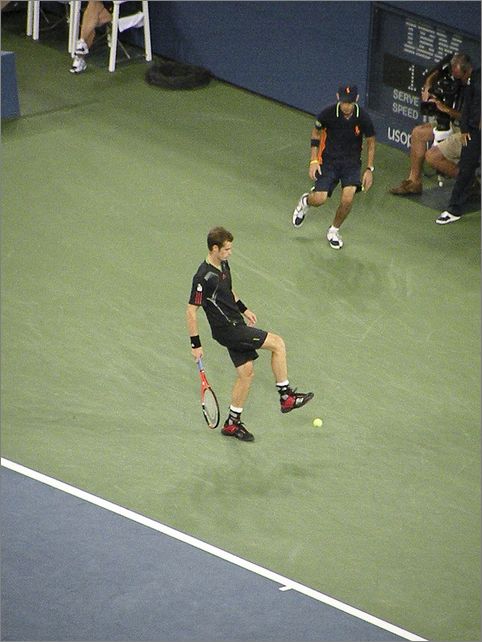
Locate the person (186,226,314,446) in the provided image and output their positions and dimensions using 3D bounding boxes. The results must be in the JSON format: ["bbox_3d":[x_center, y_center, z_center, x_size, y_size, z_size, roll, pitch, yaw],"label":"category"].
[{"bbox_3d":[0.037,0.134,4.975,0.938,1.638,0.415,8,18,-6],"label":"person"}]

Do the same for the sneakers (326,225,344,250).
[{"bbox_3d":[1.132,-1.002,7.824,0.133,0.164,0.336,-17,49,-2],"label":"sneakers"}]

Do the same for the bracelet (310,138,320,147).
[{"bbox_3d":[0.871,-2.092,7.590,0.099,0.070,0.092,1,10,2],"label":"bracelet"}]

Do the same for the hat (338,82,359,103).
[{"bbox_3d":[1.197,-2.522,7.212,0.206,0.136,0.266,7,39,7],"label":"hat"}]

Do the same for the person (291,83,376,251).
[{"bbox_3d":[1.133,-1.797,7.655,0.899,1.865,0.647,15,18,16],"label":"person"}]

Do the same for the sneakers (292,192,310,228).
[{"bbox_3d":[0.743,-1.373,8.053,0.166,0.424,0.193,6,16,-15],"label":"sneakers"}]

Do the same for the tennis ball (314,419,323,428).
[{"bbox_3d":[0.617,0.815,5.194,0.082,0.070,0.049,8,-9,-10],"label":"tennis ball"}]

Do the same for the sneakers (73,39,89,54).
[{"bbox_3d":[-2.893,-4.996,11.835,0.225,0.287,0.224,4,18,-17],"label":"sneakers"}]

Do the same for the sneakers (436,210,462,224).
[{"bbox_3d":[2.620,-1.304,8.204,0.349,0.126,0.131,-7,17,-23],"label":"sneakers"}]
